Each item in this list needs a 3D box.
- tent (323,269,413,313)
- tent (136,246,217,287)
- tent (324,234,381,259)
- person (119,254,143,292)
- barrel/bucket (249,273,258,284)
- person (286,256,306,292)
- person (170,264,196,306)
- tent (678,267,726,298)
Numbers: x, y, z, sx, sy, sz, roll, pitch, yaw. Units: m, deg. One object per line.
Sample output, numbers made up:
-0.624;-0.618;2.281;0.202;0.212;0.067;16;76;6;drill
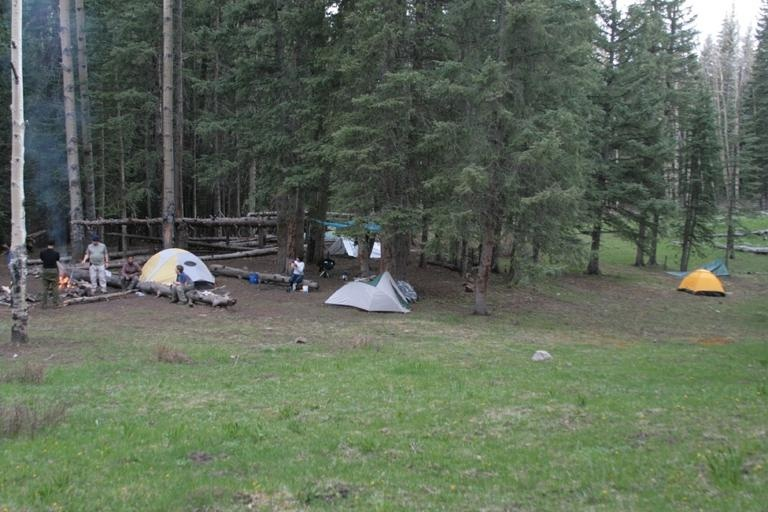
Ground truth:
-0.772;1.866;31.818;2.922;1.191;2.252;3;5;39;tent
-10.563;0.519;33.523;2.553;1.138;2.235;5;6;33;tent
-2.375;-0.585;50.656;3.256;1.194;2.513;1;2;-26;tent
-12.554;0.861;32.668;0.969;1.610;0.982;2;3;28;person
-7.203;1.275;36.662;0.509;0.586;0.408;0;3;-24;barrel/bucket
-4.738;1.063;35.110;0.778;1.591;0.649;0;3;-11;person
-9.434;1.342;30.756;1.009;1.727;1.267;0;3;-18;person
20.252;1.802;41.578;1.988;1.356;2.005;6;7;44;tent
